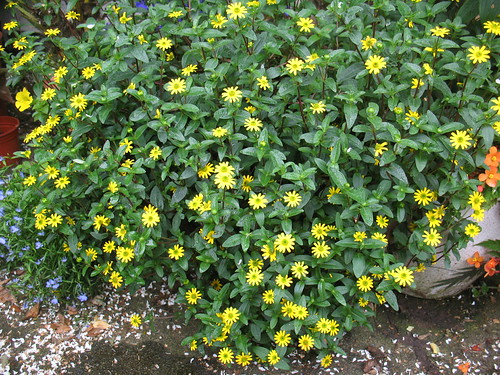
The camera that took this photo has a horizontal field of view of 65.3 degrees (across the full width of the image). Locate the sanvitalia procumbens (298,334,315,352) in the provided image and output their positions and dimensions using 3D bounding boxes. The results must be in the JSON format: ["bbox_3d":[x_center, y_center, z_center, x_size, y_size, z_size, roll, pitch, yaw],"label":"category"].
[{"bbox_3d":[0.429,1.127,2.898,0.134,0.033,0.144,-19,74,17],"label":"sanvitalia procumbens"}]

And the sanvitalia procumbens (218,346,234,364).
[{"bbox_3d":[-0.178,1.264,2.942,0.096,0.126,0.108,17,64,28],"label":"sanvitalia procumbens"}]

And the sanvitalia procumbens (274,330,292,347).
[{"bbox_3d":[0.239,1.099,2.840,0.120,0.136,0.113,-16,54,8],"label":"sanvitalia procumbens"}]
